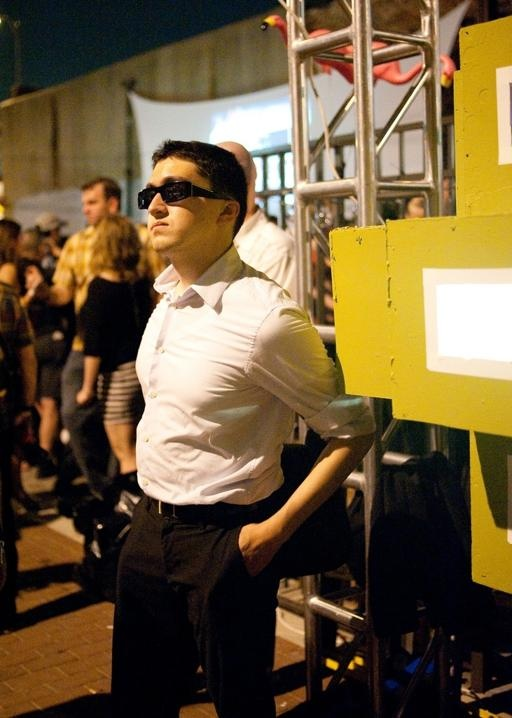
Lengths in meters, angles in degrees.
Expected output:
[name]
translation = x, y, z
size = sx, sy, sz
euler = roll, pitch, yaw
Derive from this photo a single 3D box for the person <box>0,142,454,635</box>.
[person]
translation = -0.073, 0.063, 2.026
size = 0.627, 1.226, 0.398
euler = 3, 12, 40
